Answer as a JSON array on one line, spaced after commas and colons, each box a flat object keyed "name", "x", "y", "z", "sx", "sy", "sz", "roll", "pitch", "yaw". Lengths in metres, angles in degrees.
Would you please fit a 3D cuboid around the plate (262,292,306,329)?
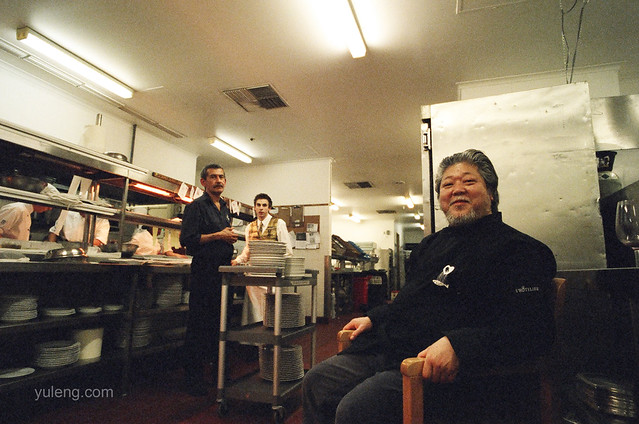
[{"name": "plate", "x": -0.345, "y": 0.986, "z": 4.483, "sx": 0.432, "sy": 0.361, "sz": 0.388, "roll": 1, "pitch": -10, "yaw": -9}]

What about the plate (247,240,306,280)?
[{"name": "plate", "x": -0.434, "y": 0.454, "z": 4.314, "sx": 0.369, "sy": 0.208, "sz": 0.504, "roll": 0, "pitch": -7, "yaw": 9}]

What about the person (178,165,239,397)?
[{"name": "person", "x": -1.211, "y": 0.658, "z": 4.699, "sx": 0.585, "sy": 2.369, "sz": 0.412, "roll": 4, "pitch": -11, "yaw": -22}]

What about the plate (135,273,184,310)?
[{"name": "plate", "x": -1.892, "y": 0.916, "z": 5.180, "sx": 0.489, "sy": 0.176, "sz": 0.378, "roll": -3, "pitch": -3, "yaw": 40}]

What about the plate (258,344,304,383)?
[{"name": "plate", "x": -0.372, "y": 1.470, "z": 4.463, "sx": 0.433, "sy": 0.216, "sz": 0.392, "roll": 0, "pitch": -9, "yaw": -6}]

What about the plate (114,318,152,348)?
[{"name": "plate", "x": -2.049, "y": 1.309, "z": 4.871, "sx": 0.362, "sy": 0.221, "sz": 0.326, "roll": 0, "pitch": -9, "yaw": -5}]
